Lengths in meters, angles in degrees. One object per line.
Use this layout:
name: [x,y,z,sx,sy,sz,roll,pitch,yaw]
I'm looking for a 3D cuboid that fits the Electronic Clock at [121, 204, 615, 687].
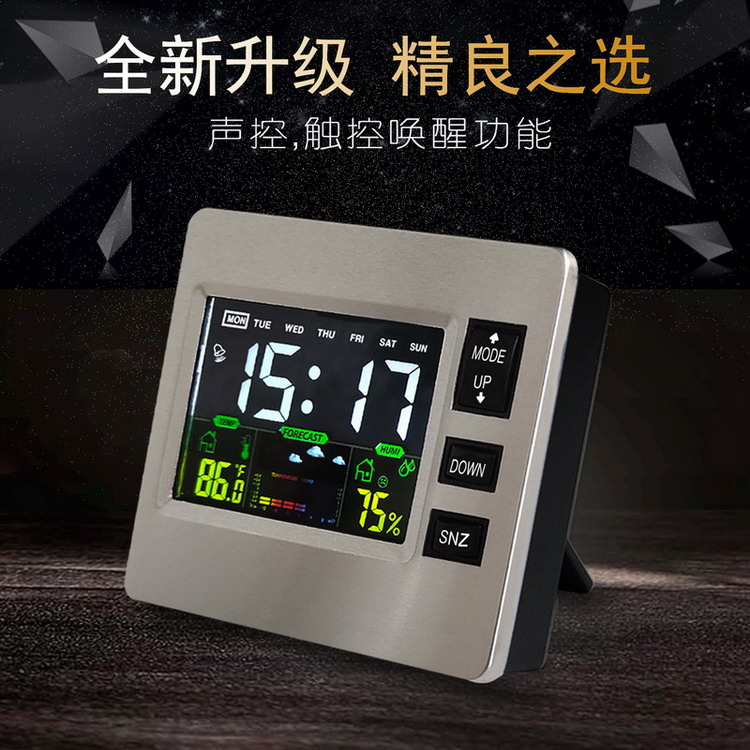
Electronic Clock: [-0.036,0.030,0.512,0.332,0.183,0.308,14,66,8]
